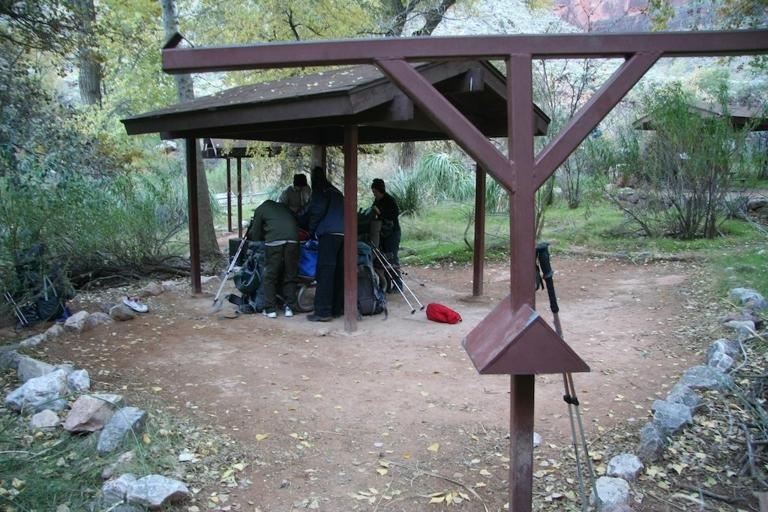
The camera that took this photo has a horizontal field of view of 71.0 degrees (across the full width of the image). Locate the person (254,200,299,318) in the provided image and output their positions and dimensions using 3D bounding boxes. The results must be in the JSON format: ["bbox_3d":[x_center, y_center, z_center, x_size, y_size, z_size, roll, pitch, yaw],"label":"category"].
[{"bbox_3d":[-1.900,0.050,9.534,0.771,2.057,0.593,-2,6,-13],"label":"person"}]

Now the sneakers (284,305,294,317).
[{"bbox_3d":[-1.691,0.983,9.627,0.145,0.174,0.404,-1,-7,-5],"label":"sneakers"}]

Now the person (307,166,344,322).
[{"bbox_3d":[-1.027,-0.036,9.389,0.630,2.278,0.742,-1,6,-6],"label":"person"}]

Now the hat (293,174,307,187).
[{"bbox_3d":[-1.558,-1.406,10.025,0.210,0.242,0.347,-2,6,-15],"label":"hat"}]
